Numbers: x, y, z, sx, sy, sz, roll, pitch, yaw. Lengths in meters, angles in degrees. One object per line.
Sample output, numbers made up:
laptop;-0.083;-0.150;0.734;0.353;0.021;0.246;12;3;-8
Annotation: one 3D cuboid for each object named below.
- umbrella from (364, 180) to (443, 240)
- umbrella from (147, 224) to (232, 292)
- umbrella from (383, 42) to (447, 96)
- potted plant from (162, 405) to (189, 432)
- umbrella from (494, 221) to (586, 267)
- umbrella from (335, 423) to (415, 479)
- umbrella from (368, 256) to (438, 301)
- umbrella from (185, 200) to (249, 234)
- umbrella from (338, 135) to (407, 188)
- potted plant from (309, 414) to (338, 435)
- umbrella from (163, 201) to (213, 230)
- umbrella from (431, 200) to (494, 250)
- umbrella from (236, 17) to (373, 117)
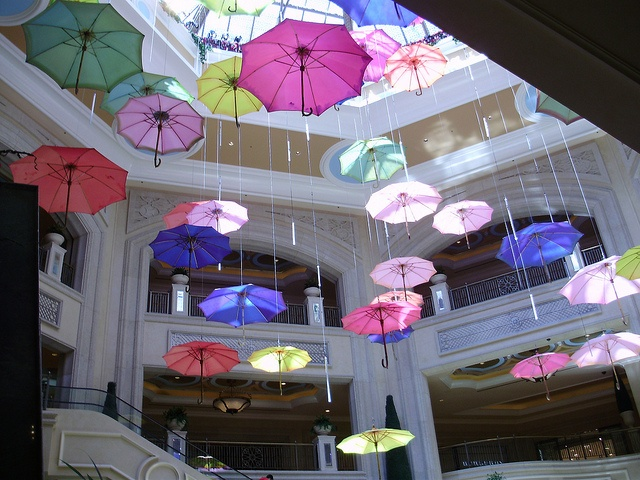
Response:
umbrella;1.786;-0.742;10.949;1.191;0.935;1.092;-14;-47;14
umbrella;-3.037;0.131;12.071;1.375;0.854;1.247;-6;-42;-2
umbrella;1.867;-3.415;10.431;1.180;0.937;1.105;-19;-58;13
potted plant;-3.660;4.467;13.152;0.555;0.615;0.556;2;-28;-11
umbrella;5.083;0.110;12.231;1.336;0.826;1.701;16;-32;-35
umbrella;1.344;4.549;11.594;1.484;1.205;1.324;-14;-59;10
umbrella;1.856;0.725;11.683;1.075;0.666;0.949;-1;-39;1
umbrella;-2.227;-0.530;11.334;0.954;0.885;0.861;-3;-48;-7
umbrella;1.212;-1.845;12.016;1.312;0.857;1.170;-3;-48;0
potted plant;0.071;4.932;14.059;0.598;0.515;0.595;-9;-27;10
umbrella;-3.045;-0.604;11.372;0.770;0.352;0.716;13;-48;-26
umbrella;3.155;-0.509;11.604;1.157;1.055;1.062;-8;-51;9
umbrella;-0.235;-2.404;7.335;1.780;0.651;1.207;-1;-26;-6
